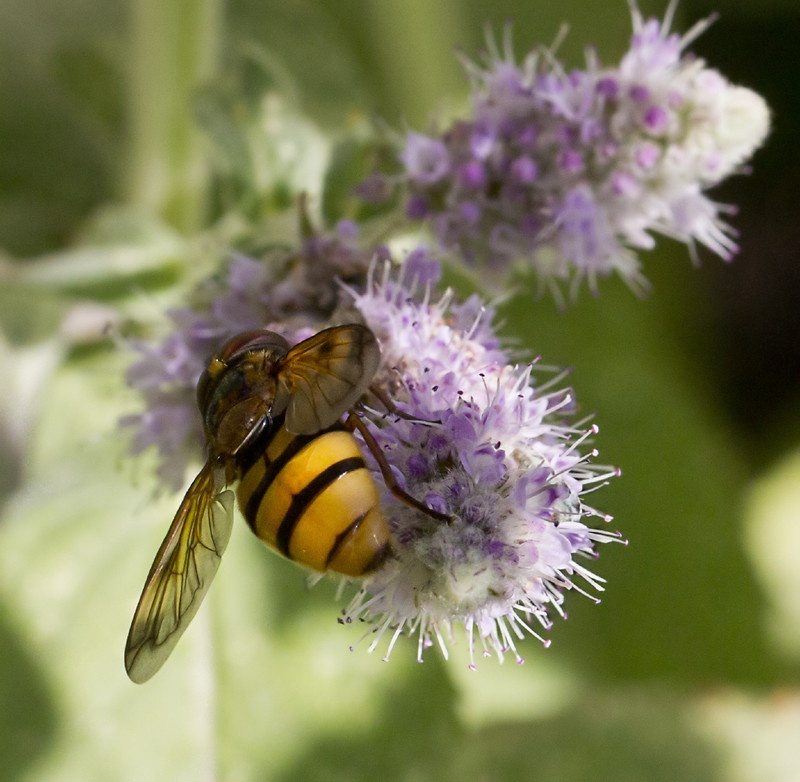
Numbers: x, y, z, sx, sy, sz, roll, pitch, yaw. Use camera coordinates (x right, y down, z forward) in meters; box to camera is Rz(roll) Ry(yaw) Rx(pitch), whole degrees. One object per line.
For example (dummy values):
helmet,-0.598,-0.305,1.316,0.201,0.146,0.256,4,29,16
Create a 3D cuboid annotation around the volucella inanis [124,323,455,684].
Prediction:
volucella inanis,-0.128,0.064,0.926,0.325,0.133,0.260,-20,71,-5
